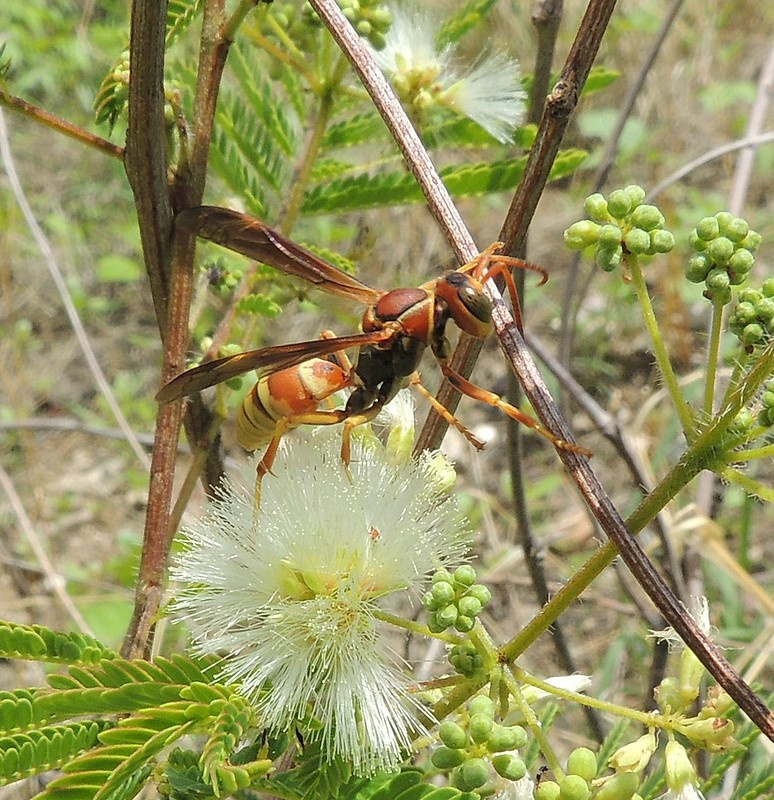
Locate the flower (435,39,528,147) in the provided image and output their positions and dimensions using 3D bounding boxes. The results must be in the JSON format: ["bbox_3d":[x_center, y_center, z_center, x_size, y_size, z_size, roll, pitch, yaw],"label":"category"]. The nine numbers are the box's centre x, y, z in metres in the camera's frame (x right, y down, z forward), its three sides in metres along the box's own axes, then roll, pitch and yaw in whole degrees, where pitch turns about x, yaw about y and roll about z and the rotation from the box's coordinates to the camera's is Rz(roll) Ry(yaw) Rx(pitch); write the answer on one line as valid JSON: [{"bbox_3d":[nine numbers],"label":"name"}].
[{"bbox_3d":[0.269,-0.855,3.038,0.245,0.134,0.367,11,61,-1],"label":"flower"}]

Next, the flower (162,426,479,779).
[{"bbox_3d":[-0.118,0.415,2.316,0.604,0.385,0.596,-10,55,0],"label":"flower"}]

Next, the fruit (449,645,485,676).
[{"bbox_3d":[0.151,0.478,1.987,0.047,0.029,0.061,-45,71,20],"label":"fruit"}]

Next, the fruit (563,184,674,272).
[{"bbox_3d":[0.468,-0.329,2.189,0.195,0.124,0.191,13,98,4],"label":"fruit"}]
